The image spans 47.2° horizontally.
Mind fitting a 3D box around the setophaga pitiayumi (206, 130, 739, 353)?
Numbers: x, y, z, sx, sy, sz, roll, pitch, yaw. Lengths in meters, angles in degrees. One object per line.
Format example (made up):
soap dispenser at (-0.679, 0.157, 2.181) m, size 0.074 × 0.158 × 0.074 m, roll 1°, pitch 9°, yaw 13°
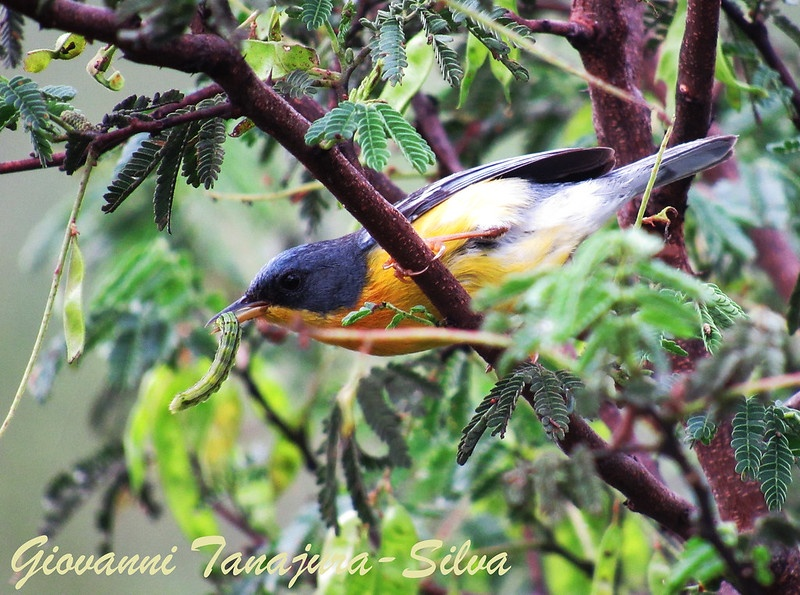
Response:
setophaga pitiayumi at (0.442, -0.227, 4.506) m, size 2.760 × 0.794 × 0.889 m, roll -20°, pitch 61°, yaw -1°
